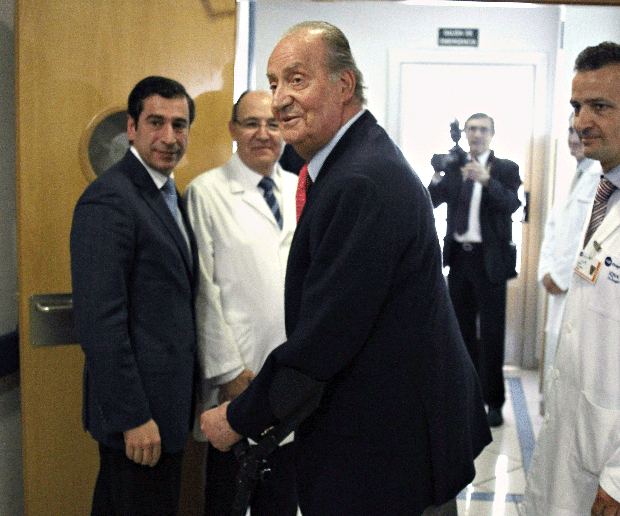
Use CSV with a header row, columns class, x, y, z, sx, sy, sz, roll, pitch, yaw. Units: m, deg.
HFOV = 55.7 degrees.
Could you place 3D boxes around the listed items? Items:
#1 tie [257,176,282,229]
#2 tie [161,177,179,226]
class,x,y,z,sx,sy,sz,roll,pitch,yaw
tie,-0.151,-0.228,2.239,0.052,0.268,0.033,-4,-28,-16
tie,-0.458,-0.180,1.903,0.032,0.039,0.171,-11,-40,8
